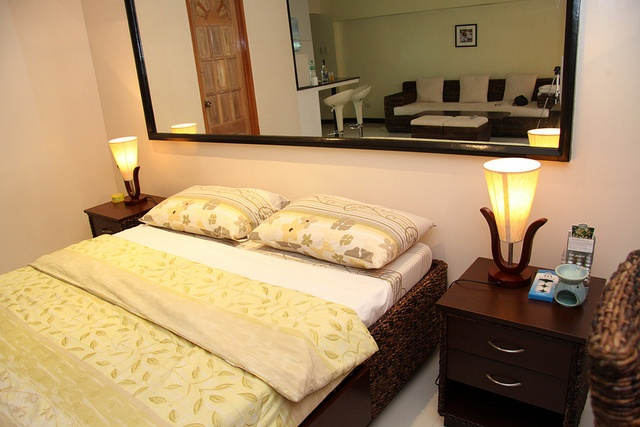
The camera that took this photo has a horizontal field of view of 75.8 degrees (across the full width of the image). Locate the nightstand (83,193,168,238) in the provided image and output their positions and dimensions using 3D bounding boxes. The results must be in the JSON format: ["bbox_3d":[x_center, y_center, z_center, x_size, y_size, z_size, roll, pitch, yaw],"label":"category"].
[{"bbox_3d":[-1.625,-0.027,3.555,0.413,0.475,0.480,15,29,25],"label":"nightstand"}]

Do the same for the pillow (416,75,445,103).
[{"bbox_3d":[0.659,-0.738,2.435,0.161,0.138,0.055,8,18,29],"label":"pillow"}]

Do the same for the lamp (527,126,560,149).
[{"bbox_3d":[1.192,-0.399,2.182,0.106,0.035,0.107,-20,28,-37],"label":"lamp"}]

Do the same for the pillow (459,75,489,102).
[{"bbox_3d":[0.878,-0.709,2.328,0.143,0.136,0.052,9,20,28],"label":"pillow"}]

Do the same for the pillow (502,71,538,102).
[{"bbox_3d":[1.082,-0.685,2.211,0.142,0.150,0.054,16,31,30],"label":"pillow"}]
